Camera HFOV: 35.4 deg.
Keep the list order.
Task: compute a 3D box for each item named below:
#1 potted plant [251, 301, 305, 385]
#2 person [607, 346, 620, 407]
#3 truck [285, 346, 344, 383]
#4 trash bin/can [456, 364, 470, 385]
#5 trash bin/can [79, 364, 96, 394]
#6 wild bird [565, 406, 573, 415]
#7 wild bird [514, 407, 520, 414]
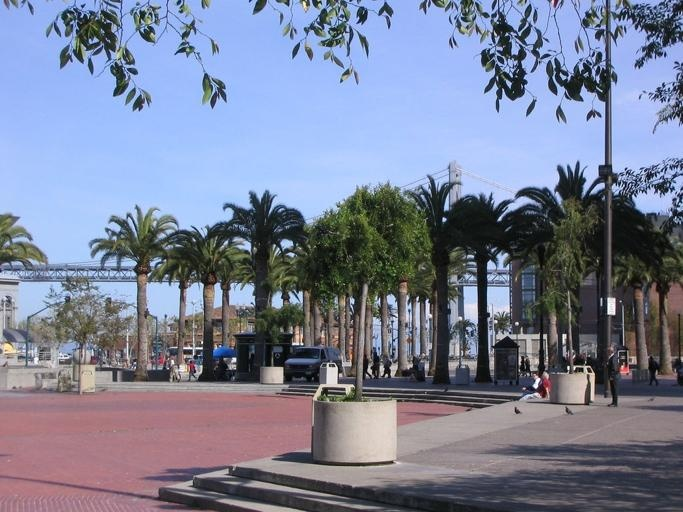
[{"bbox_3d":[-3.985,4.341,61.550,2.560,3.732,2.148,-17,23,-41],"label":"potted plant"},{"bbox_3d":[8.622,3.825,34.128,0.354,1.977,1.308,-3,-9,14],"label":"person"},{"bbox_3d":[-1.624,5.688,56.612,1.484,1.334,3.141,-3,-10,19],"label":"truck"},{"bbox_3d":[5.200,5.157,46.289,0.554,0.800,0.642,-1,-9,-3],"label":"trash bin/can"},{"bbox_3d":[-11.674,5.638,48.938,0.710,1.397,1.273,1,-10,-16],"label":"trash bin/can"},{"bbox_3d":[6.710,4.576,31.537,0.133,0.306,0.475,-19,-19,11],"label":"wild bird"},{"bbox_3d":[5.164,4.594,31.730,0.115,0.207,0.193,-14,-1,42],"label":"wild bird"}]
